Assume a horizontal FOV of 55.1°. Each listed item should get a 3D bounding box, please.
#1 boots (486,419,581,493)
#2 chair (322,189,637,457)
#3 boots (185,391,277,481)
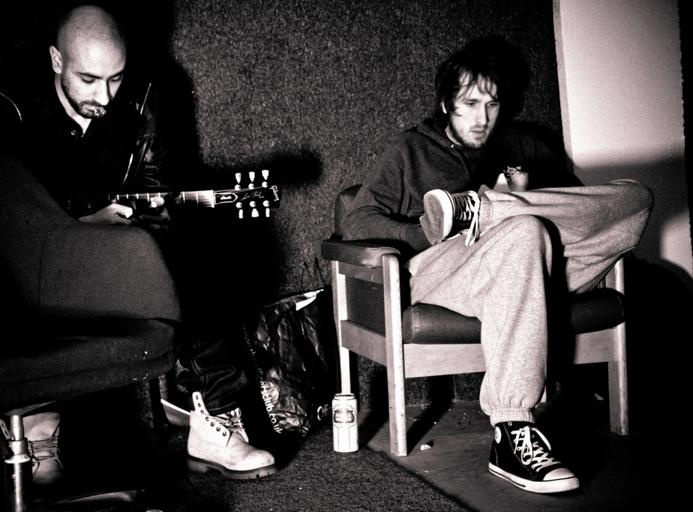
[{"bbox_3d":[0.512,0.579,1.962,0.118,0.185,0.313,-2,-7,-31],"label":"boots"},{"bbox_3d":[0.531,0.225,2.556,0.844,1.035,0.955,-2,-5,0],"label":"chair"},{"bbox_3d":[-0.377,0.584,2.206,0.385,0.276,0.150,3,2,23],"label":"boots"}]
